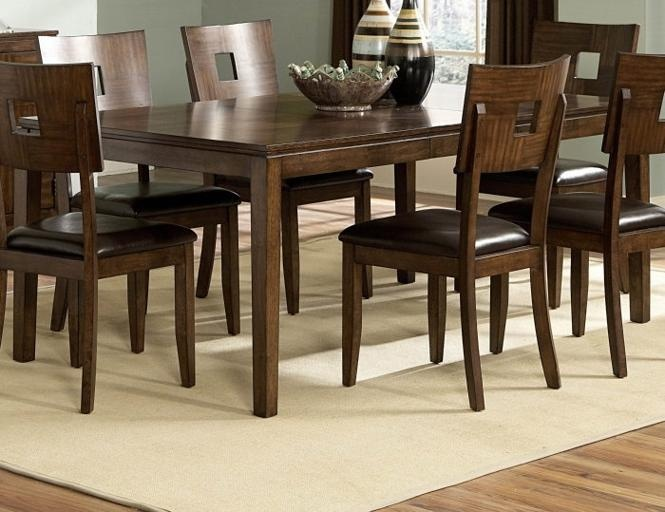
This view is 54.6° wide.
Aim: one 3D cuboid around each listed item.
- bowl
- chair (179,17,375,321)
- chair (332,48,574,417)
[{"bbox_3d":[0.053,-0.649,2.587,0.461,0.129,0.429,1,9,0],"label":"bowl"},{"bbox_3d":[-0.310,-0.528,3.248,0.878,1.089,0.640,25,38,10],"label":"chair"},{"bbox_3d":[0.334,-0.101,2.278,0.920,1.030,0.835,-12,13,-32],"label":"chair"}]
